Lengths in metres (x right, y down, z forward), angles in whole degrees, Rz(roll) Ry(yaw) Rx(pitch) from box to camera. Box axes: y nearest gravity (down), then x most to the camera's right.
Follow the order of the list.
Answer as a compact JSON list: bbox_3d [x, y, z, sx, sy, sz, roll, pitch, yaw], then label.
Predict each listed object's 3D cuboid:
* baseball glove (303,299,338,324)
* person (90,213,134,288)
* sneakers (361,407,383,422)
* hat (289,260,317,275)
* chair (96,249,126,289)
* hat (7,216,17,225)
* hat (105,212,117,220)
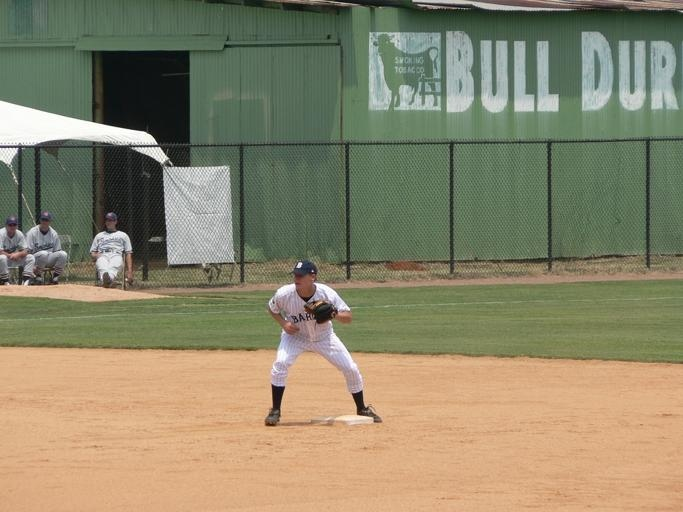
[{"bbox_3d":[-0.283,0.847,25.361,0.308,0.232,0.414,0,-5,-25],"label":"baseball glove"},{"bbox_3d":[-4.695,-0.214,34.085,0.857,1.295,2.371,4,6,-12],"label":"person"},{"bbox_3d":[0.509,2.476,25.614,0.334,0.154,0.185,5,1,35],"label":"sneakers"},{"bbox_3d":[-0.565,0.153,25.545,0.362,0.204,0.508,0,13,-3],"label":"hat"},{"bbox_3d":[-4.851,0.155,34.541,0.590,0.379,1.472,7,27,0],"label":"chair"},{"bbox_3d":[-6.888,-0.745,34.450,0.205,0.181,0.239,-2,13,-10],"label":"hat"},{"bbox_3d":[-4.802,-0.853,34.542,0.184,0.150,0.283,2,2,3],"label":"hat"}]
